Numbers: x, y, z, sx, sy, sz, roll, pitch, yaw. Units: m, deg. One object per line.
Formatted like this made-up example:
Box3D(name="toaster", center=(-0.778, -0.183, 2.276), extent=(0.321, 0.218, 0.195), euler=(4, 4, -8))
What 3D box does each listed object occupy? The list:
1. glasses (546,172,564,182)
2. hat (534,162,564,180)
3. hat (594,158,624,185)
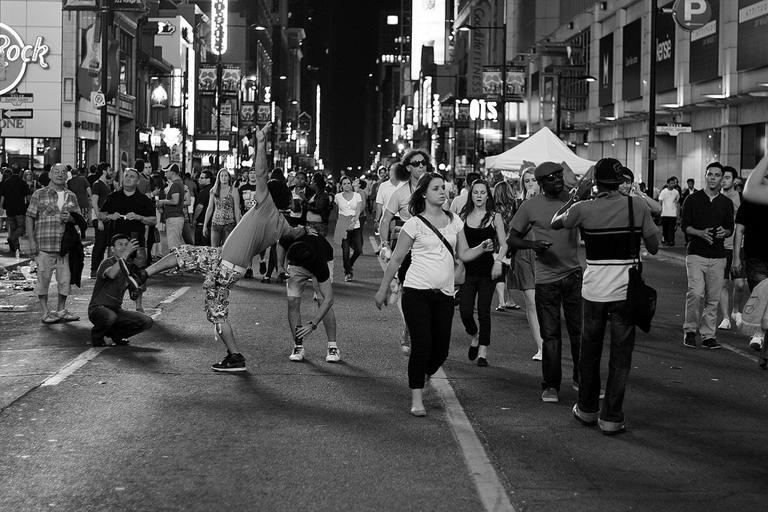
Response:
Box3D(name="glasses", center=(2.039, -0.951, 8.942), extent=(0.111, 0.067, 0.158), euler=(-6, -4, -17))
Box3D(name="hat", center=(1.949, -1.039, 8.958), extent=(0.269, 0.122, 0.203), euler=(-19, 3, 42))
Box3D(name="hat", center=(2.314, -0.880, 7.754), extent=(0.294, 0.267, 0.239), euler=(4, 9, 18))
